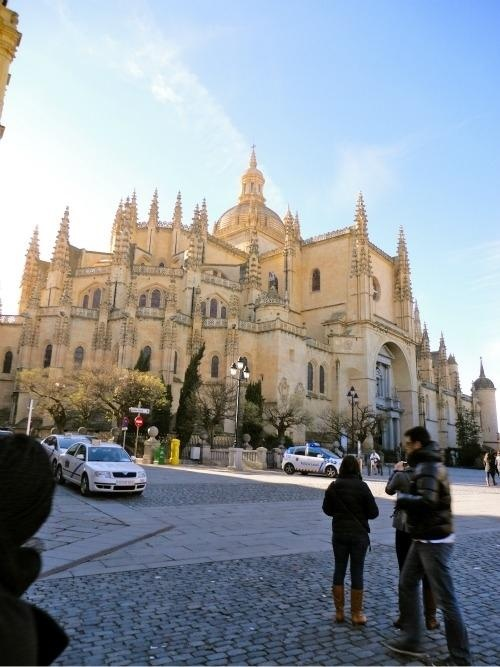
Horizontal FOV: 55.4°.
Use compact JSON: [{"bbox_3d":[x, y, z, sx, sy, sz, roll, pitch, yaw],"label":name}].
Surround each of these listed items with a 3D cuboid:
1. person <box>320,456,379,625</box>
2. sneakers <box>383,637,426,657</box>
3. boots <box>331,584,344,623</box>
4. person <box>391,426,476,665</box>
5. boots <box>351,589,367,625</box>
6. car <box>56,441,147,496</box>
[{"bbox_3d":[1.010,2.056,4.933,0.542,1.549,0.487,-3,-15,25],"label":"person"},{"bbox_3d":[1.291,2.579,3.997,0.298,0.137,0.115,1,-19,24],"label":"sneakers"},{"bbox_3d":[0.869,2.618,4.670,0.111,0.312,0.178,1,-14,11],"label":"boots"},{"bbox_3d":[1.490,1.713,4.023,0.561,1.859,0.617,2,-14,6],"label":"person"},{"bbox_3d":[1.046,2.618,4.605,0.144,0.314,0.129,1,-14,12],"label":"boots"},{"bbox_3d":[-4.488,3.993,14.213,1.398,1.399,3.127,14,-17,-38],"label":"car"}]
